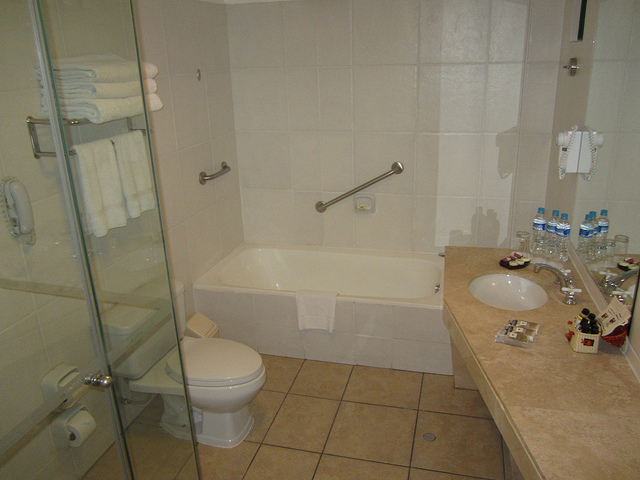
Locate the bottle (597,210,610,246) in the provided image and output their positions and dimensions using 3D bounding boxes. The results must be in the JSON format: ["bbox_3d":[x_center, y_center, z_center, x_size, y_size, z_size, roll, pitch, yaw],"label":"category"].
[{"bbox_3d":[1.347,-0.050,2.330,0.028,0.190,0.108,5,21,15],"label":"bottle"}]

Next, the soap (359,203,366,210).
[{"bbox_3d":[0.325,-0.261,3.766,0.034,0.037,0.021,-28,14,21],"label":"soap"}]

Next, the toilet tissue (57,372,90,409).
[{"bbox_3d":[-0.794,0.479,1.521,0.091,0.055,0.083,-24,66,-32],"label":"toilet tissue"}]

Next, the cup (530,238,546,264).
[{"bbox_3d":[1.295,0.066,2.889,0.092,0.164,0.098,-5,17,2],"label":"cup"}]

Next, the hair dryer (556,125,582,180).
[{"bbox_3d":[1.196,-0.414,2.350,0.166,0.243,0.077,10,9,32],"label":"hair dryer"}]

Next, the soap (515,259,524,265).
[{"bbox_3d":[1.198,0.132,2.928,0.022,0.013,0.039,-5,13,-2],"label":"soap"}]

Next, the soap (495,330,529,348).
[{"bbox_3d":[0.889,0.445,2.247,0.081,0.021,0.077,13,27,34],"label":"soap"}]

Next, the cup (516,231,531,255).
[{"bbox_3d":[1.277,0.023,3.065,0.095,0.175,0.093,-9,15,3],"label":"cup"}]

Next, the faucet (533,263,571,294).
[{"bbox_3d":[1.258,0.200,2.631,0.193,0.143,0.136,17,27,39],"label":"faucet"}]
